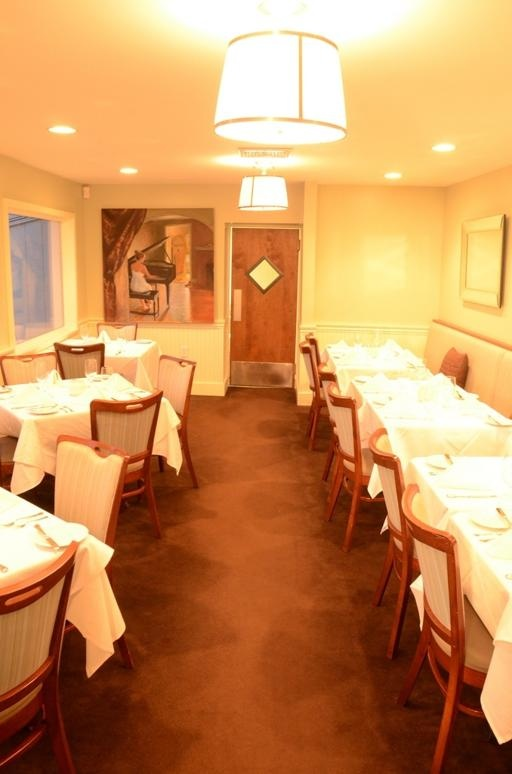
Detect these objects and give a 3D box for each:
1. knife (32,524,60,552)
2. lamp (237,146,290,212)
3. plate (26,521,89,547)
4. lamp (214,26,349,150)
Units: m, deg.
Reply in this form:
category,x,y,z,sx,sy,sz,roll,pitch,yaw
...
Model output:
category,x,y,z,sx,sy,sz,roll,pitch,yaw
knife,-0.646,0.465,1.637,0.021,0.062,0.053,46,40,15
lamp,0.078,-2.000,5.218,0.557,0.608,0.583,-2,12,-12
plate,-0.637,0.463,1.694,0.158,0.036,0.139,17,14,38
lamp,0.068,-0.831,1.569,0.387,0.257,0.444,2,6,6
